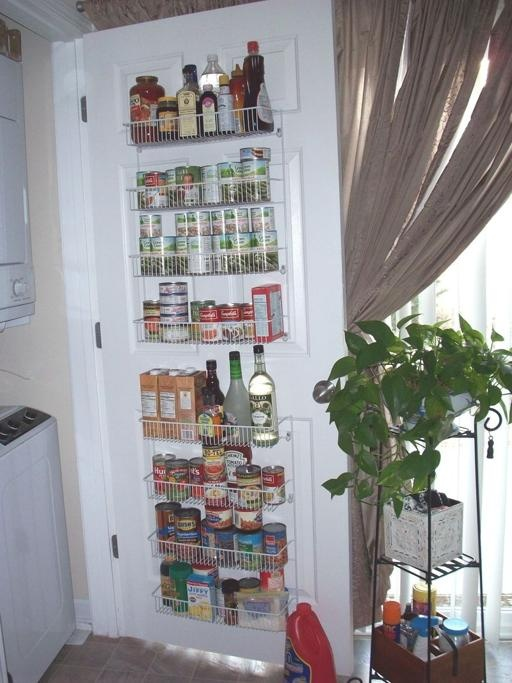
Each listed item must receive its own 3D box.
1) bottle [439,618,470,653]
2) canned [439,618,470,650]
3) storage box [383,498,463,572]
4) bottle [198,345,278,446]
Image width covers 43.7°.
[{"bbox_3d":[0.522,0.778,1.730,0.079,0.069,0.078,-9,9,-38],"label":"bottle"},{"bbox_3d":[0.520,0.779,1.719,0.078,0.067,0.077,-10,9,-43],"label":"canned"},{"bbox_3d":[0.414,0.494,1.695,0.219,0.200,0.204,10,-18,-22],"label":"storage box"},{"bbox_3d":[-0.039,0.144,1.723,0.191,0.284,0.120,-2,7,0],"label":"bottle"}]
